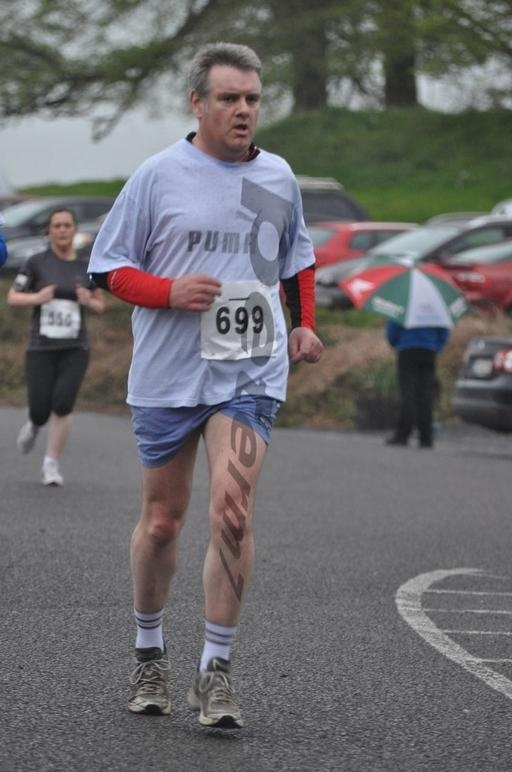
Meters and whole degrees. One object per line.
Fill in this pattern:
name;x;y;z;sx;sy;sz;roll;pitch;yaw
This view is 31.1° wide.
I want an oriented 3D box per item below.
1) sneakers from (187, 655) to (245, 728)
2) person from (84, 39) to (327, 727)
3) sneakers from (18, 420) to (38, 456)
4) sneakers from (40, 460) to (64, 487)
sneakers;-0.121;0.764;2.291;0.087;0.110;0.212;4;-1;-17
person;-0.144;-0.035;2.440;0.576;1.694;0.883;2;15;3
sneakers;-1.575;0.354;6.399;0.148;0.324;0.107;3;58;-8
sneakers;-1.315;0.559;5.954;0.128;0.167;0.197;-3;15;-13
